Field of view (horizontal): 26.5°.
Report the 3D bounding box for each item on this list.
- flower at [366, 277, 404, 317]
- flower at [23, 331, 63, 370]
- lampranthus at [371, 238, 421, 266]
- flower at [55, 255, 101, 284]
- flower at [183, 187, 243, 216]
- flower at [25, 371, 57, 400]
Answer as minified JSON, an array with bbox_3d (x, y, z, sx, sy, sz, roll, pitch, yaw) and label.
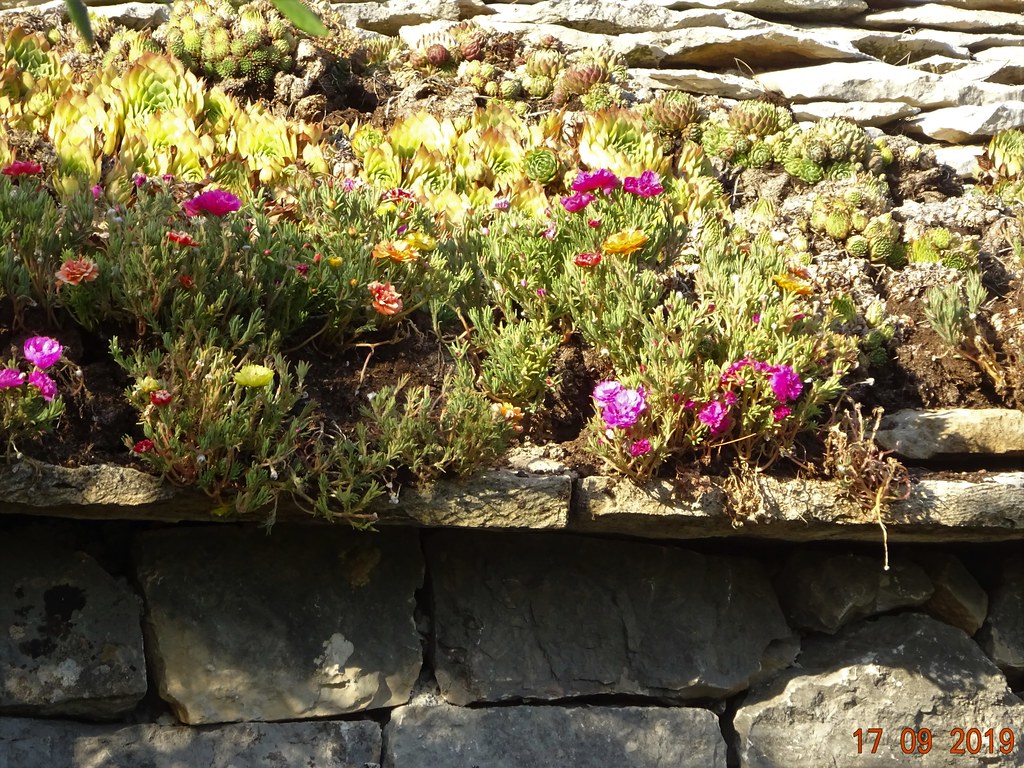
[{"bbox_3d":[-0.600,-0.399,10.376,0.149,0.241,0.324,-3,27,-1],"label":"flower"},{"bbox_3d":[-2.133,-0.149,9.831,0.157,0.104,0.146,6,9,26],"label":"flower"},{"bbox_3d":[-0.556,-0.639,10.461,0.219,0.142,0.232,2,27,10],"label":"lampranthus"},{"bbox_3d":[-2.000,-0.514,9.968,0.145,0.082,0.134,2,39,12],"label":"flower"},{"bbox_3d":[-1.424,-0.856,10.317,0.260,0.174,0.186,-7,27,-8],"label":"flower"},{"bbox_3d":[-2.127,0.002,9.886,0.075,0.129,0.120,-39,5,-3],"label":"flower"}]
